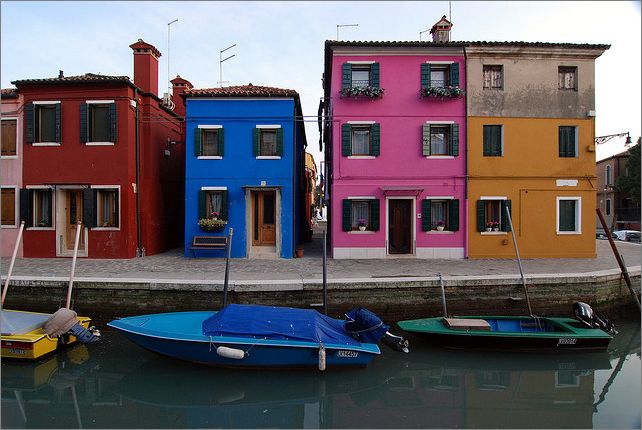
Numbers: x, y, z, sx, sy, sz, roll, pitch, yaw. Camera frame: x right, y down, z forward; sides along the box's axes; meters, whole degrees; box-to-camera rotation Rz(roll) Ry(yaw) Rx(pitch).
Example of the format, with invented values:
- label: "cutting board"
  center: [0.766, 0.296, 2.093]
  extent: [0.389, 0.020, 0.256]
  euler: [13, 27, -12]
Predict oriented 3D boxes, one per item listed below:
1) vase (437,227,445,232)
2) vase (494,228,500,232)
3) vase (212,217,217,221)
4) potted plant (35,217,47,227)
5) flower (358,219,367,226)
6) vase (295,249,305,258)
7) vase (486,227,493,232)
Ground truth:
- label: "vase"
  center: [5.828, 0.680, 42.493]
  extent: [0.249, 0.172, 0.247]
  euler: [0, 1, 0]
- label: "vase"
  center: [8.569, 0.710, 42.564]
  extent: [0.200, 0.145, 0.199]
  euler: [1, 4, 6]
- label: "vase"
  center: [-5.190, 0.195, 42.285]
  extent: [0.165, 0.120, 0.164]
  euler: [2, -1, 0]
- label: "potted plant"
  center: [-13.486, 0.370, 42.135]
  extent: [0.588, 0.552, 0.315]
  euler: [0, -5, -6]
- label: "flower"
  center: [2.007, 0.348, 42.529]
  extent: [0.287, 0.284, 0.277]
  euler: [6, 0, -12]
- label: "vase"
  center: [-1.077, 1.859, 42.583]
  extent: [0.359, 0.260, 0.356]
  euler: [1, 2, 3]
- label: "vase"
  center: [8.234, 0.712, 42.535]
  extent: [0.333, 0.189, 0.147]
  euler: [-1, -1, 10]
